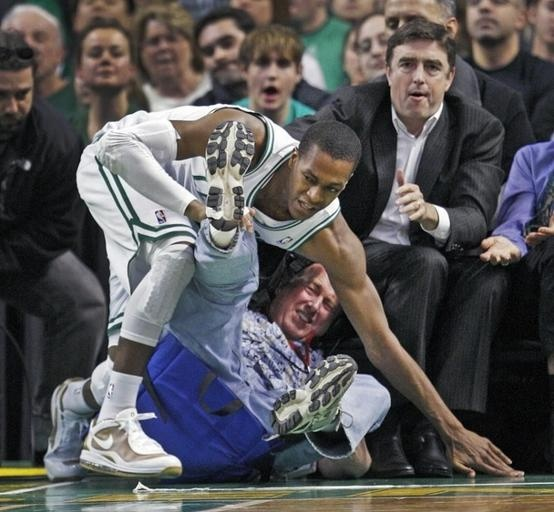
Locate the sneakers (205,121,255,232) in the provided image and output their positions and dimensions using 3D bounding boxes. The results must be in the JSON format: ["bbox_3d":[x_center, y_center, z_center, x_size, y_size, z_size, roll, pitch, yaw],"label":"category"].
[{"bbox_3d":[-0.161,-0.266,3.304,0.146,0.172,0.371,10,67,-8],"label":"sneakers"}]

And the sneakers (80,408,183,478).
[{"bbox_3d":[-0.520,0.674,3.433,0.453,0.211,0.165,2,-11,31],"label":"sneakers"}]

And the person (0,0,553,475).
[{"bbox_3d":[-0.015,0.044,3.773,1.743,1.151,0.754,7,27,4],"label":"person"}]
